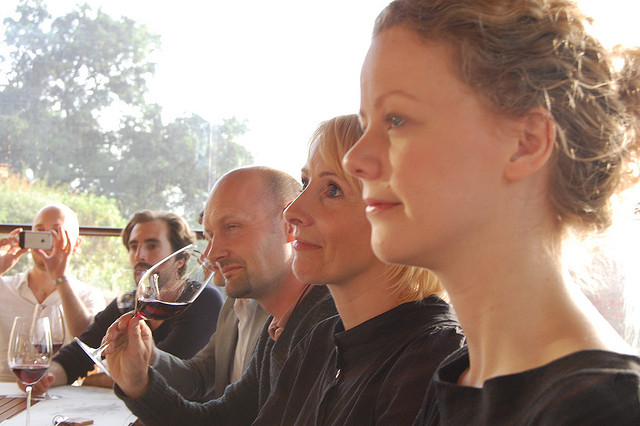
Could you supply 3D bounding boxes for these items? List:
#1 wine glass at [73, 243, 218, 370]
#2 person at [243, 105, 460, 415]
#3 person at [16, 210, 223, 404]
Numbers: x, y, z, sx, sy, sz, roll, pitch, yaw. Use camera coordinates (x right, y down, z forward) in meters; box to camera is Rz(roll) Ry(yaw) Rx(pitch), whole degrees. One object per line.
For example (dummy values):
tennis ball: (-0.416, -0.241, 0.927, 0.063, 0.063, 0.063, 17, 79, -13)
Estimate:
wine glass: (-0.811, 0.450, 3.183, 0.319, 0.759, 0.341, 46, -9, 38)
person: (0.087, 0.171, 1.903, 0.452, 0.783, 0.916, 8, -15, -15)
person: (-0.959, 0.491, 3.630, 0.770, 1.066, 1.079, -13, -21, 17)
